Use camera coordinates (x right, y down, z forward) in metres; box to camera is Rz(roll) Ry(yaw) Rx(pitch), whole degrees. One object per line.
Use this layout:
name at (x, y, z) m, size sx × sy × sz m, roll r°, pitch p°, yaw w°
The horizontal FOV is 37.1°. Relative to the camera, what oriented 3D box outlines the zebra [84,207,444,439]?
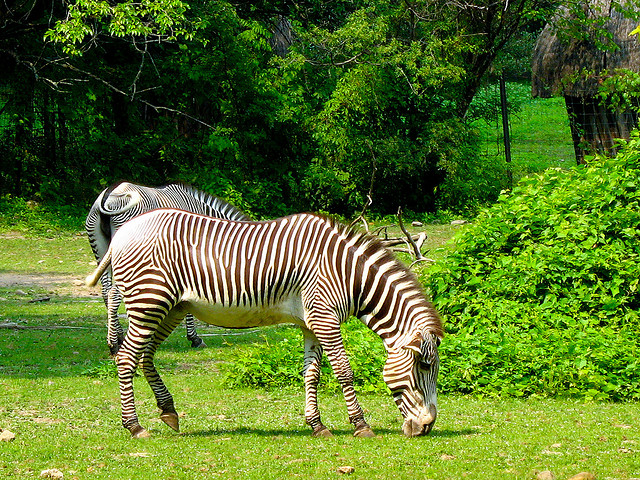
zebra at (-0.690, 1.131, 11.904) m, size 4.497 × 2.612 × 1.271 m, roll 5°, pitch -5°, yaw -9°
